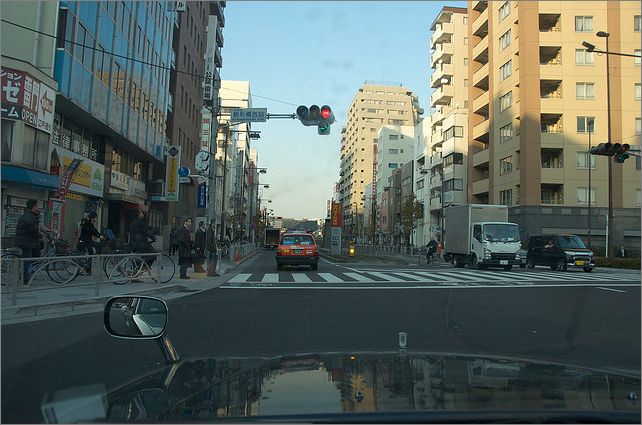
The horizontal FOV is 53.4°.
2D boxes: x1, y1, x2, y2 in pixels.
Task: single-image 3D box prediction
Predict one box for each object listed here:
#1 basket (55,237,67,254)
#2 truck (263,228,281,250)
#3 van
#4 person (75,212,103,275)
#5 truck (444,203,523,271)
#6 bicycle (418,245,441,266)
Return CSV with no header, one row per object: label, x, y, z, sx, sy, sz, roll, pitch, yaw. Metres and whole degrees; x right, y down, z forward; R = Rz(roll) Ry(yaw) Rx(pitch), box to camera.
basket,-12.038,1.528,29.572,0.606,0.775,0.579,3,-7,-27
truck,-6.229,3.304,81.380,2.745,3.115,2.180,-2,18,3
van,15.294,2.476,40.884,1.344,2.322,4.600,1,-6,-21
person,-10.767,1.149,29.748,1.186,3.424,1.184,1,0,5
truck,10.231,1.675,41.456,2.357,3.562,6.353,0,-6,-5
bicycle,7.335,3.040,44.797,2.249,1.621,1.249,-2,3,12
